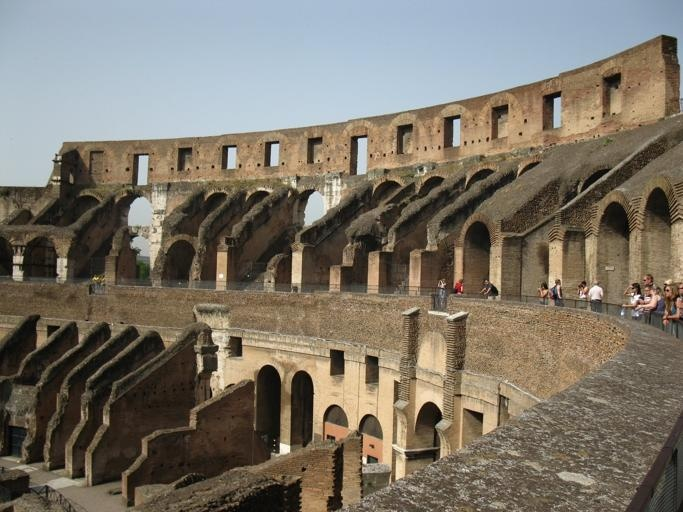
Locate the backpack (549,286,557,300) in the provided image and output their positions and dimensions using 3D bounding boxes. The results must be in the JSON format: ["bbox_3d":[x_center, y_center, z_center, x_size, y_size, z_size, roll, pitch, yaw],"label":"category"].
[{"bbox_3d":[6.696,1.244,35.397,0.215,0.376,0.370,-2,-7,19],"label":"backpack"}]
